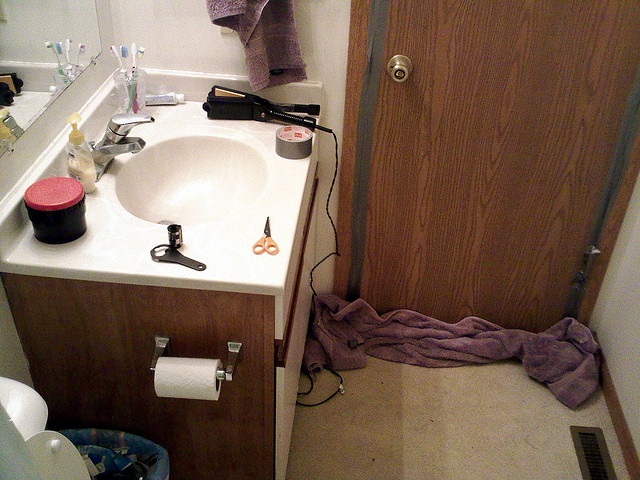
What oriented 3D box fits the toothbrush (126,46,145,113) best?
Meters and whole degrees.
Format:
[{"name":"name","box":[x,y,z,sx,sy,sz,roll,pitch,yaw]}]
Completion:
[{"name":"toothbrush","box":[-0.575,-0.514,1.582,0.036,0.302,0.023,8,9,-10]}]

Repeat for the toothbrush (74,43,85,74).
[{"name":"toothbrush","box":[-0.679,-0.517,1.425,0.030,0.105,0.021,4,48,-29]}]

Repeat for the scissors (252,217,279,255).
[{"name":"scissors","box":[-0.126,-0.013,1.191,0.063,0.138,0.023,0,55,-10]}]

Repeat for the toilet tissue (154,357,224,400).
[{"name":"toilet tissue","box":[-0.309,0.322,1.172,0.133,0.096,0.101,1,80,3]}]

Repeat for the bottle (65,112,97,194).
[{"name":"bottle","box":[-0.621,-0.216,1.298,0.070,0.185,0.098,-19,42,-23]}]

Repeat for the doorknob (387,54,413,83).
[{"name":"doorknob","box":[0.261,-0.568,1.661,0.078,0.084,0.081,11,22,-14]}]
